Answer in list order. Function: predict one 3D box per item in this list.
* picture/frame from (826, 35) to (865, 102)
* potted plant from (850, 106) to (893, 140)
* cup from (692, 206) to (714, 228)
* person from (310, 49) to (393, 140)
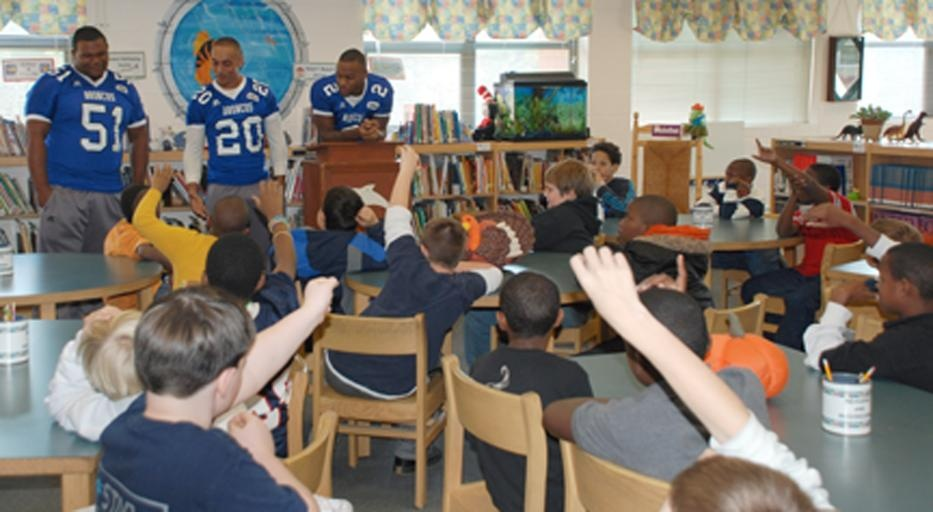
[{"bbox_3d":[4.858,-2.390,8.948,0.467,0.797,0.076,-3,8,-5],"label":"picture/frame"},{"bbox_3d":[4.614,-1.512,7.919,0.379,0.338,0.360,6,6,21],"label":"potted plant"},{"bbox_3d":[1.870,-0.307,5.576,0.196,0.172,0.178,-1,6,-4],"label":"cup"},{"bbox_3d":[-0.927,-1.310,5.686,0.669,0.765,0.612,-3,8,-9],"label":"person"}]
